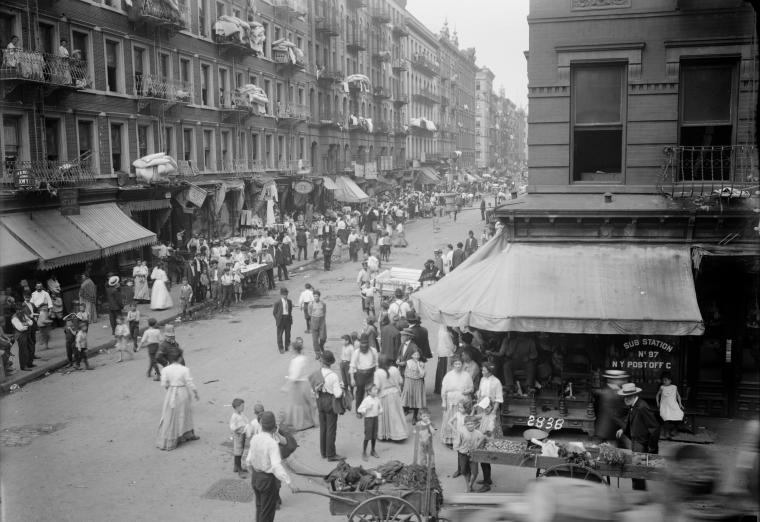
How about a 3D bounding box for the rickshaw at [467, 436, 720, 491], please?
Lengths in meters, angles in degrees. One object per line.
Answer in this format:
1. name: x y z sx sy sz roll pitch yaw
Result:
1. rickshaw: 4.548 4.700 21.973 4.063 1.278 2.511 3 5 23
